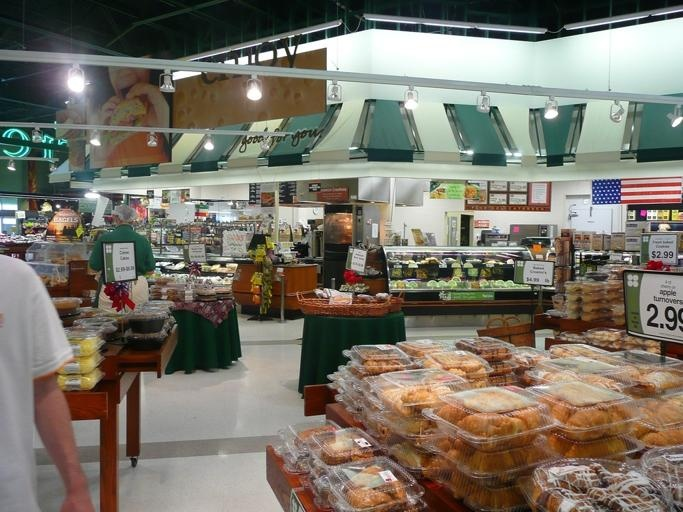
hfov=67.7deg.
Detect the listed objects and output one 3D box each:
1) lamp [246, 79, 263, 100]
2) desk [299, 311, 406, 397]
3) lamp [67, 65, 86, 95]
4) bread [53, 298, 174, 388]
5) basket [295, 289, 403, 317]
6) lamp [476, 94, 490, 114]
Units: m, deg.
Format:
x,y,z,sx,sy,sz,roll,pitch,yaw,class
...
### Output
x,y,z,sx,sy,sz,roll,pitch,yaw,class
-1.016,-1.958,5.942,0.155,0.244,0.295,0,6,-13,lamp
0.015,0.900,5.027,0.898,0.540,0.828,1,-2,-2,desk
-3.291,-2.234,6.317,0.171,0.342,0.482,-2,7,-29,lamp
-1.319,0.536,3.013,0.565,0.131,0.593,-3,8,-27,bread
0.044,0.477,4.819,0.627,0.140,0.390,2,1,15,basket
1.870,-2.024,6.689,0.132,0.225,0.275,2,6,9,lamp
